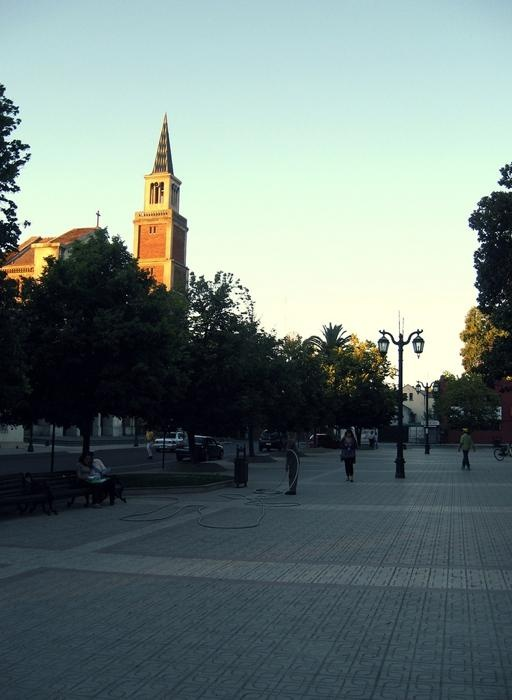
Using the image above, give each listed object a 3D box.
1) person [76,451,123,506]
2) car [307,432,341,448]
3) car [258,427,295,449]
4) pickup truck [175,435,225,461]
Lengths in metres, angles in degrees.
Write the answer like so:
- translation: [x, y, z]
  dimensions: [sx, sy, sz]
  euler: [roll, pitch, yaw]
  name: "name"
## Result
- translation: [-3.359, 2.639, 16.257]
  dimensions: [0.660, 1.104, 0.479]
  euler: [7, 21, 35]
  name: "person"
- translation: [5.357, 7.132, 61.818]
  dimensions: [2.293, 1.093, 1.333]
  euler: [7, 6, 11]
  name: "car"
- translation: [1.205, 6.041, 52.751]
  dimensions: [1.642, 1.291, 2.288]
  euler: [0, -5, 11]
  name: "car"
- translation: [-2.641, 5.066, 39.843]
  dimensions: [1.442, 1.161, 2.873]
  euler: [0, 1, 36]
  name: "pickup truck"
